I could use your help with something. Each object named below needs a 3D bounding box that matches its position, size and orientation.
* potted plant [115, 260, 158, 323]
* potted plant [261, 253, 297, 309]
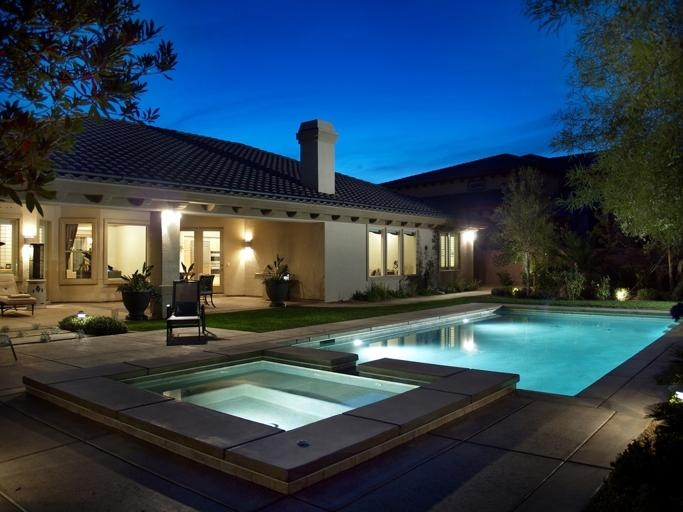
[{"bbox_3d":[-5.021,0.882,11.131,0.827,1.333,0.692,0,2,-18],"label":"potted plant"},{"bbox_3d":[-2.122,0.770,15.132,1.003,1.547,2.636,0,1,-7],"label":"potted plant"}]
